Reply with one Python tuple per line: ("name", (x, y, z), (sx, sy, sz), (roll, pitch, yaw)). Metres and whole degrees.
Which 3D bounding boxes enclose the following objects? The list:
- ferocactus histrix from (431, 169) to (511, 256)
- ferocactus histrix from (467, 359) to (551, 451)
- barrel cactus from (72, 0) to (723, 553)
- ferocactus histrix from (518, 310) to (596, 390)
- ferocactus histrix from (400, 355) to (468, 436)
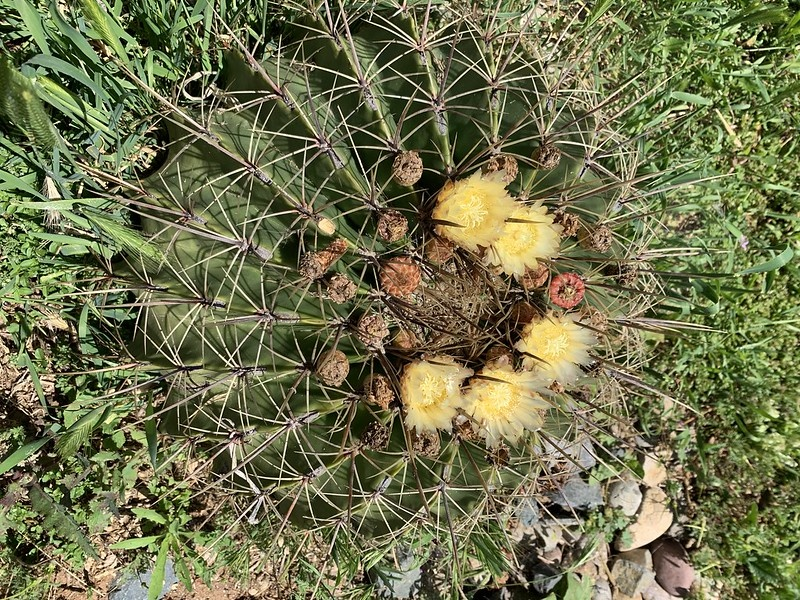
("ferocactus histrix", (0.183, -0.217, 1.637), (0.195, 0.098, 0.183), (-15, 84, -4))
("ferocactus histrix", (0.266, 0.267, 1.657), (0.215, 0.115, 0.212), (-44, 86, -7))
("barrel cactus", (-0.023, -0.083, 1.957), (1.635, 0.823, 1.614), (16, 82, 0))
("ferocactus histrix", (0.407, 0.124, 1.713), (0.208, 0.081, 0.186), (29, 92, -8))
("ferocactus histrix", (0.081, 0.235, 1.642), (0.205, 0.078, 0.169), (4, 101, -16))
